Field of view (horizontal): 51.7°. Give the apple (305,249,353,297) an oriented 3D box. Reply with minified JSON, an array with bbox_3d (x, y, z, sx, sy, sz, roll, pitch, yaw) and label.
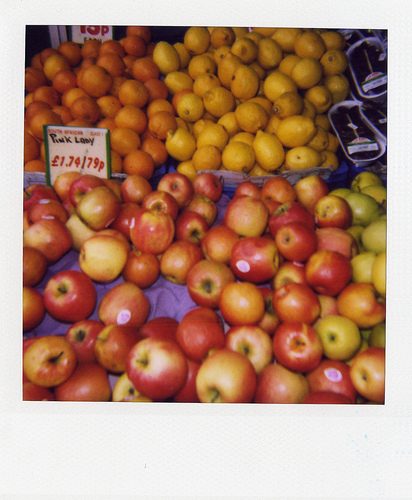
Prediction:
[{"bbox_3d":[0.472,0.086,1.671,0.172,0.162,0.161,-1,-18,33],"label":"apple"}]

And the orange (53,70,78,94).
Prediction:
[{"bbox_3d":[-0.736,-0.880,2.275,0.116,0.118,0.118,21,10,-4],"label":"orange"}]

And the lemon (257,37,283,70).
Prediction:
[{"bbox_3d":[0.339,-1.072,2.315,0.113,0.158,0.132,-1,9,38],"label":"lemon"}]

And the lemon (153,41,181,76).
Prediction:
[{"bbox_3d":[-0.213,-1.080,2.433,0.125,0.165,0.130,-16,24,31],"label":"lemon"}]

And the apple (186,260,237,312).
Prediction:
[{"bbox_3d":[0.011,0.126,1.702,0.181,0.189,0.207,16,9,0],"label":"apple"}]

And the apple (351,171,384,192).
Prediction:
[{"bbox_3d":[0.802,-0.347,2.112,0.122,0.104,0.107,10,26,2],"label":"apple"}]

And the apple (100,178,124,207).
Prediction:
[{"bbox_3d":[-0.395,-0.237,1.780,0.089,0.089,0.105,-22,-26,24],"label":"apple"}]

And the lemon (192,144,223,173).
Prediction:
[{"bbox_3d":[0.011,-0.429,2.059,0.127,0.120,0.127,-15,-32,32],"label":"lemon"}]

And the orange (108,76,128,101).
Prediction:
[{"bbox_3d":[-0.469,-0.871,2.303,0.107,0.129,0.109,-8,45,-17],"label":"orange"}]

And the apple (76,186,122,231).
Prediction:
[{"bbox_3d":[-0.455,-0.187,1.754,0.167,0.217,0.177,-3,36,-23],"label":"apple"}]

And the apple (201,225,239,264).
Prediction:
[{"bbox_3d":[0.055,-0.021,1.748,0.137,0.138,0.140,-38,20,-20],"label":"apple"}]

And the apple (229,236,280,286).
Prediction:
[{"bbox_3d":[0.188,0.045,1.691,0.172,0.184,0.174,-9,-8,8],"label":"apple"}]

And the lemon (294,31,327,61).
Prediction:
[{"bbox_3d":[0.592,-1.107,2.309,0.210,0.150,0.094,-8,8,-16],"label":"lemon"}]

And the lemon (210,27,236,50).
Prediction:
[{"bbox_3d":[0.095,-1.164,2.385,0.107,0.102,0.124,5,33,-38],"label":"lemon"}]

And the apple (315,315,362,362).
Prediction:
[{"bbox_3d":[0.498,0.328,1.612,0.165,0.178,0.168,-3,-10,3],"label":"apple"}]

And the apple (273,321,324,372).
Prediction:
[{"bbox_3d":[0.344,0.375,1.594,0.194,0.200,0.205,-1,-32,7],"label":"apple"}]

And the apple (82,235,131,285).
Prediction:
[{"bbox_3d":[-0.382,0.039,1.632,0.185,0.182,0.225,6,34,-4],"label":"apple"}]

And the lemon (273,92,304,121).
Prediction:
[{"bbox_3d":[0.400,-0.717,2.136,0.147,0.118,0.109,-12,8,-34],"label":"lemon"}]

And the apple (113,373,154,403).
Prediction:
[{"bbox_3d":[-0.281,0.517,1.625,0.116,0.116,0.113,-31,-18,-5],"label":"apple"}]

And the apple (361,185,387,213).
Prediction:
[{"bbox_3d":[0.810,-0.250,2.059,0.127,0.115,0.111,24,19,24],"label":"apple"}]

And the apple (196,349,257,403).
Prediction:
[{"bbox_3d":[0.081,0.416,1.564,0.185,0.192,0.220,-3,9,29],"label":"apple"}]

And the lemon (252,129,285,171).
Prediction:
[{"bbox_3d":[0.294,-0.458,2.011,0.131,0.181,0.113,-29,-6,39],"label":"lemon"}]

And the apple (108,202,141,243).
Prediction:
[{"bbox_3d":[-0.330,-0.107,1.809,0.146,0.175,0.151,11,2,7],"label":"apple"}]

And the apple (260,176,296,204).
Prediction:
[{"bbox_3d":[0.331,-0.273,1.922,0.128,0.129,0.125,-44,34,-24],"label":"apple"}]

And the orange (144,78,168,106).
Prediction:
[{"bbox_3d":[-0.263,-0.859,2.363,0.140,0.139,0.139,-20,24,7],"label":"orange"}]

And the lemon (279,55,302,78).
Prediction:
[{"bbox_3d":[0.457,-0.978,2.275,0.103,0.123,0.106,28,-45,-17],"label":"lemon"}]

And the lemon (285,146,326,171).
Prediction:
[{"bbox_3d":[0.476,-0.434,2.026,0.149,0.113,0.108,-7,12,-7],"label":"lemon"}]

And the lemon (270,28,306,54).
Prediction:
[{"bbox_3d":[0.469,-1.145,2.371,0.134,0.129,0.155,-22,35,41],"label":"lemon"}]

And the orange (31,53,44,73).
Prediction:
[{"bbox_3d":[-0.912,-1.009,2.297,0.040,0.073,0.072,-18,15,-34],"label":"orange"}]

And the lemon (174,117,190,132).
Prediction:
[{"bbox_3d":[-0.123,-0.663,2.276,0.042,0.075,0.058,-39,30,25],"label":"lemon"}]

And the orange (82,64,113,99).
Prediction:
[{"bbox_3d":[-0.514,-0.847,2.128,0.135,0.167,0.147,10,24,16],"label":"orange"}]

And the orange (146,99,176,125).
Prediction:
[{"bbox_3d":[-0.247,-0.760,2.279,0.140,0.167,0.140,21,29,29],"label":"orange"}]

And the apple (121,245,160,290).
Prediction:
[{"bbox_3d":[-0.255,0.077,1.722,0.143,0.167,0.147,10,21,33],"label":"apple"}]

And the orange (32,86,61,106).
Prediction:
[{"bbox_3d":[-0.817,-0.799,2.201,0.124,0.124,0.123,-1,25,10],"label":"orange"}]

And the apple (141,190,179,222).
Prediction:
[{"bbox_3d":[-0.189,-0.182,1.789,0.125,0.126,0.128,-3,16,8],"label":"apple"}]

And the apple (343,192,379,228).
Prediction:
[{"bbox_3d":[0.698,-0.188,1.979,0.149,0.165,0.146,14,58,41],"label":"apple"}]

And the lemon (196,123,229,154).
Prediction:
[{"bbox_3d":[0.043,-0.550,2.114,0.150,0.118,0.114,-36,34,-3],"label":"lemon"}]

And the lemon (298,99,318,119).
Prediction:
[{"bbox_3d":[0.539,-0.728,2.212,0.038,0.107,0.106,0,-3,-15],"label":"lemon"}]

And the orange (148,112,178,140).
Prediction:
[{"bbox_3d":[-0.214,-0.626,2.195,0.127,0.153,0.136,14,38,0],"label":"orange"}]

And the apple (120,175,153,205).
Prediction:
[{"bbox_3d":[-0.322,-0.277,1.926,0.140,0.138,0.138,22,28,28],"label":"apple"}]

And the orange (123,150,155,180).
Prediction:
[{"bbox_3d":[-0.309,-0.399,2.043,0.126,0.134,0.131,21,16,-3],"label":"orange"}]

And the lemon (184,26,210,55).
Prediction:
[{"bbox_3d":[-0.040,-1.106,2.314,0.141,0.167,0.140,5,5,14],"label":"lemon"}]

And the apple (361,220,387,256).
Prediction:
[{"bbox_3d":[0.706,-0.050,1.780,0.129,0.156,0.127,2,-4,19],"label":"apple"}]

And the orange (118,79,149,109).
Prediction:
[{"bbox_3d":[-0.361,-0.805,2.229,0.137,0.139,0.138,15,26,4],"label":"orange"}]

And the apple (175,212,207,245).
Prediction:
[{"bbox_3d":[-0.060,-0.088,1.817,0.127,0.127,0.134,1,24,-8],"label":"apple"}]

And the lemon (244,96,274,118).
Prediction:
[{"bbox_3d":[0.276,-0.736,2.194,0.117,0.115,0.137,-4,-26,11],"label":"lemon"}]

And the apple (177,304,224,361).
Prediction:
[{"bbox_3d":[-0.031,0.333,1.646,0.162,0.201,0.177,-37,-41,25],"label":"apple"}]
